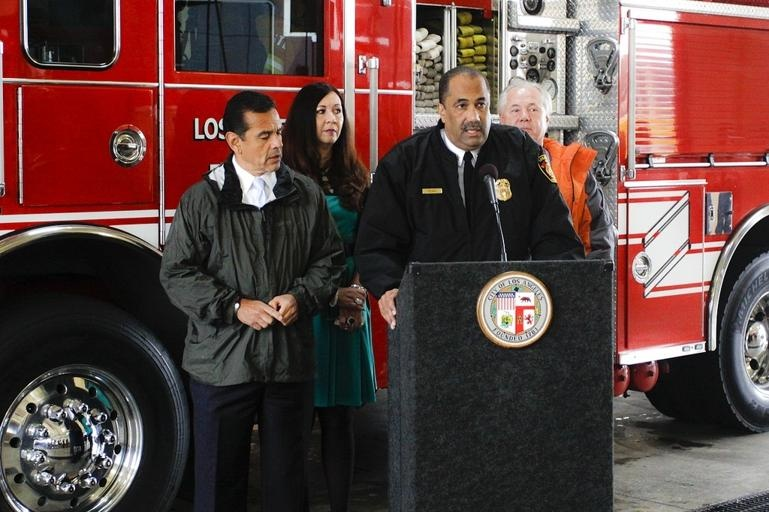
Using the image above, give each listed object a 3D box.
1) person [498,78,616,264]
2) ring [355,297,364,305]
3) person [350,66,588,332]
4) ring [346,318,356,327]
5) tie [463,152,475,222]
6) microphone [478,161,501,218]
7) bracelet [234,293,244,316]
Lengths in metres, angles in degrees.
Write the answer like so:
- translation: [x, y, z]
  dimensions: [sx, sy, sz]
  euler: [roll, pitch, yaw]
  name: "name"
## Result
- translation: [1.117, -0.681, 4.612]
  dimensions: [0.699, 0.367, 1.235]
  euler: [-4, 27, -6]
  name: "person"
- translation: [-0.144, 0.262, 3.863]
  dimensions: [0.036, 0.035, 0.010]
  euler: [2, -2, -40]
  name: "ring"
- translation: [0.395, -0.360, 3.318]
  dimensions: [1.070, 1.062, 0.397]
  euler: [0, 5, -11]
  name: "person"
- translation: [-0.190, 0.381, 3.882]
  dimensions: [0.036, 0.048, 0.051]
  euler: [2, -21, -37]
  name: "ring"
- translation: [0.412, -0.328, 3.321]
  dimensions: [0.051, 0.339, 0.049]
  euler: [0, -3, -4]
  name: "tie"
- translation: [0.456, -0.284, 2.973]
  dimensions: [0.077, 0.218, 0.335]
  euler: [2, 6, 8]
  name: "microphone"
- translation: [-0.694, 0.231, 3.204]
  dimensions: [0.026, 0.073, 0.063]
  euler: [10, 28, 3]
  name: "bracelet"
